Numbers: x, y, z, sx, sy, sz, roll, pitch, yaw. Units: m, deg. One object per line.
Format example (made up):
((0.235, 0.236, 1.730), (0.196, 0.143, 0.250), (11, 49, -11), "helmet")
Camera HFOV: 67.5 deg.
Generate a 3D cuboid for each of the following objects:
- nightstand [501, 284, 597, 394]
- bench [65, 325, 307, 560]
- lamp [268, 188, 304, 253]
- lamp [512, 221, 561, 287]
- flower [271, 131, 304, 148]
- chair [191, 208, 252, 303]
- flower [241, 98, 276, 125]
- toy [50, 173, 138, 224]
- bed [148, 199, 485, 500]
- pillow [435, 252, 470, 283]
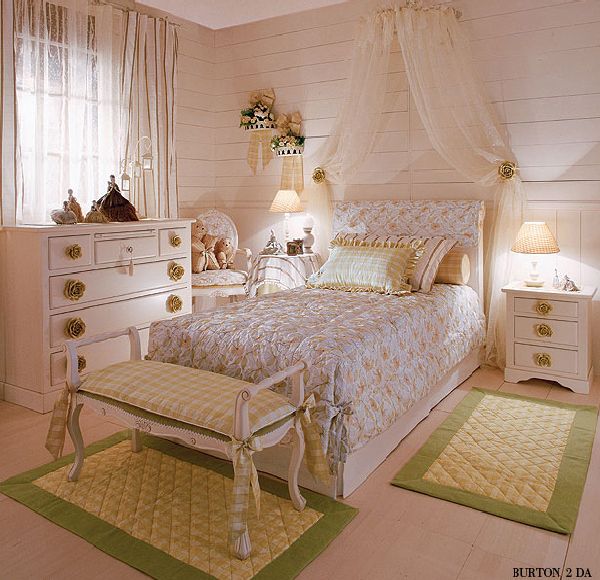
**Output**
((1.744, 0.341, 3.148), (0.646, 0.874, 0.409), (1, 3, 34), "nightstand")
((-0.505, 0.566, 1.880), (1.040, 0.652, 0.555), (6, 6, 33), "bench")
((-0.135, -0.763, 4.478), (0.356, 0.559, 0.371), (-13, 33, -20), "lamp")
((1.700, -0.253, 3.261), (0.267, 0.457, 0.283), (-2, 5, 2), "lamp")
((-0.115, -1.511, 4.489), (0.181, 0.093, 0.247), (0, 3, -1), "flower")
((-0.810, -0.204, 4.396), (0.632, 1.153, 0.795), (-2, 11, -6), "chair")
((-0.453, -1.837, 4.656), (0.404, 0.296, 0.143), (4, 7, 34), "flower")
((-1.446, -0.649, 3.203), (0.342, 0.376, 0.626), (1, 6, 8), "toy")
((0.282, 0.122, 2.984), (1.292, 1.430, 2.180), (3, 7, 36), "bed")
((1.195, -0.164, 3.584), (0.265, 0.251, 0.212), (-10, 5, 43), "pillow")
